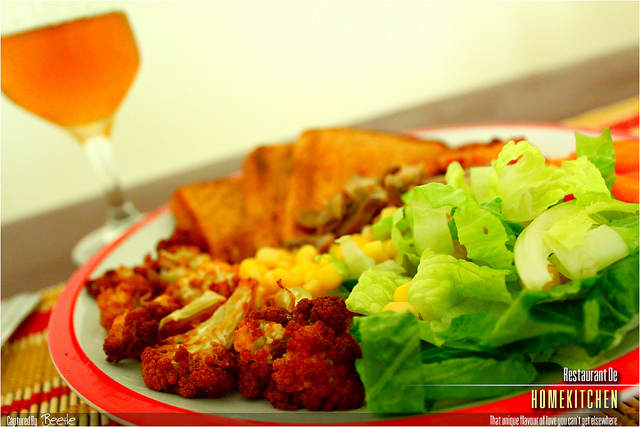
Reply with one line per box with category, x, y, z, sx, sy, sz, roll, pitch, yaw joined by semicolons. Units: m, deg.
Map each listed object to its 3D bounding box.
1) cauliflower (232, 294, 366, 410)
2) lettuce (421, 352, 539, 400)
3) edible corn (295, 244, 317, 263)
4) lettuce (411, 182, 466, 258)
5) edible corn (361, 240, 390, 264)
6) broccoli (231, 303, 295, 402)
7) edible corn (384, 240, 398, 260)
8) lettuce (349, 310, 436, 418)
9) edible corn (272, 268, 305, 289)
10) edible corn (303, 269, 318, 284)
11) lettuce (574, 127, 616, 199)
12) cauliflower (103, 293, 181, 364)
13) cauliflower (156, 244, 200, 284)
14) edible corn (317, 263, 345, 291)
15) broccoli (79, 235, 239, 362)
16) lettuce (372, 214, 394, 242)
cauliflower;-0.027;0.267;0.966;0.305;0.178;0.246;6;26;28
lettuce;0.284;0.304;0.861;0.252;0.075;0.072;-6;-11;5
edible corn;-0.032;0.108;1.242;0.045;0.016;0.047;-19;42;25
lettuce;0.233;0.008;0.961;0.110;0.147;0.082;-6;9;-13
edible corn;0.135;0.093;1.135;0.056;0.056;0.059;-11;-5;5
broccoli;-0.094;0.271;0.974;0.183;0.148;0.080;-12;52;5
edible corn;0.174;0.090;1.146;0.015;0.036;0.039;-17;38;6
lettuce;0.131;0.280;0.854;0.128;0.180;0.039;-15;4;-1
edible corn;-0.078;0.159;1.130;0.050;0.019;0.054;26;21;24
edible corn;-0.025;0.153;1.121;0.032;0.032;0.030;24;27;-22
lettuce;0.630;-0.128;1.059;0.069;0.189;0.023;-27;-25;34
cauliflower;-0.414;0.291;1.116;0.110;0.063;0.163;31;56;23
cauliflower;-0.375;0.135;1.252;0.098;0.095;0.030;-5;-32;-6
edible corn;0.014;0.155;1.125;0.063;0.054;0.070;-8;9;42
broccoli;-0.380;0.204;1.153;0.292;0.095;0.287;-22;22;-31
lettuce;0.156;0.034;1.226;0.022;0.058;0.062;38;4;36
